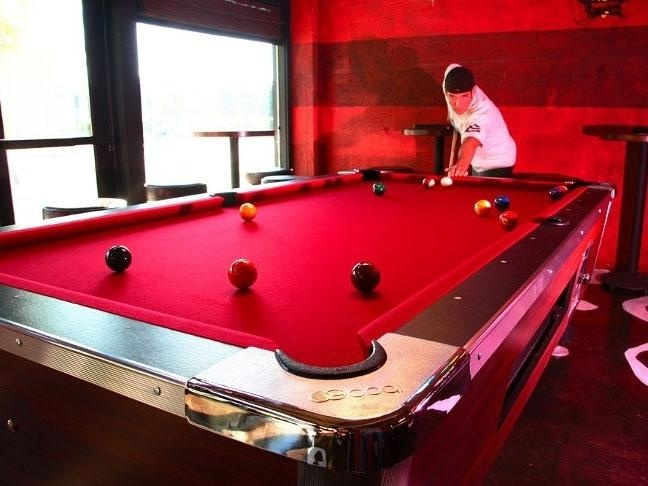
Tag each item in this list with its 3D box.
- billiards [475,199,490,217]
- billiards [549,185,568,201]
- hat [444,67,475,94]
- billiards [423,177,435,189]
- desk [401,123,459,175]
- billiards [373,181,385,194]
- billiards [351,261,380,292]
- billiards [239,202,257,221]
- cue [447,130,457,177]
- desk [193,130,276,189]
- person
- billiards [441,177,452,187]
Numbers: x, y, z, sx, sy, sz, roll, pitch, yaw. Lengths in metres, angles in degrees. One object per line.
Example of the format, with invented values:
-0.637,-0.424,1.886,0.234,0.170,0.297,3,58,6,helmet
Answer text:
0.701,-0.151,2.278,0.056,0.056,0.071,-5,12,30,billiards
1.161,-0.251,2.583,0.104,0.040,0.080,-14,19,30,billiards
1.185,-1.428,4.543,0.241,0.155,0.242,8,50,12,hat
0.607,-0.357,3.061,0.076,0.059,0.058,9,32,29,billiards
0.990,-0.877,4.789,0.515,0.595,0.555,4,29,20,desk
0.293,-0.291,2.785,0.073,0.073,0.072,-2,11,6,billiards
0.110,0.088,1.356,0.075,0.088,0.073,-1,15,19,billiards
-0.307,-0.133,2.145,0.067,0.069,0.069,-16,18,-40,billiards
1.097,-0.778,4.447,0.070,0.066,0.676,11,-22,18,cue
-0.763,-0.729,4.480,0.443,0.494,0.446,-1,1,10,desk
1.322,-1.020,4.316,0.634,0.978,1.387,0,14,13,person
0.714,-0.350,3.037,0.064,0.054,0.053,6,11,-26,billiards
